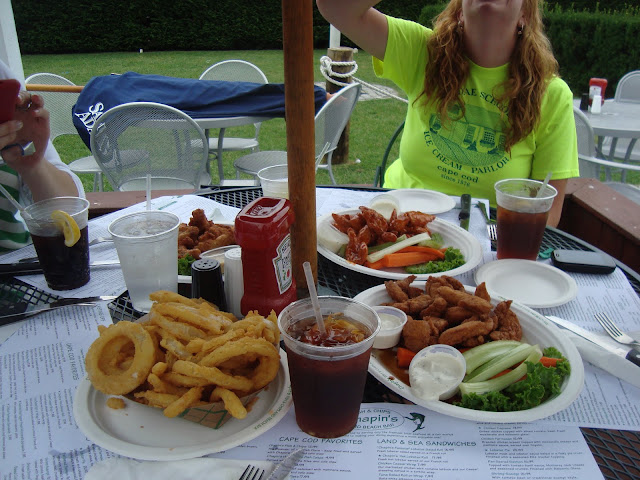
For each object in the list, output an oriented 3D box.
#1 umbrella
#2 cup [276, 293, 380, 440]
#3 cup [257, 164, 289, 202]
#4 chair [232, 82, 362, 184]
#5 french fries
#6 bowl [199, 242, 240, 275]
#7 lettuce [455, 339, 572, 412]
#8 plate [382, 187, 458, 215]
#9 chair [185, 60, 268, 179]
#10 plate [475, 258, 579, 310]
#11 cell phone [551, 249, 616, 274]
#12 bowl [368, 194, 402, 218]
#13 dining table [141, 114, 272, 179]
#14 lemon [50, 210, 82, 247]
[{"bbox_3d":[-1.193,-1.256,4.565,1.724,0.580,1.347,16,24,33],"label":"umbrella"},{"bbox_3d":[0.023,0.334,1.568,0.358,0.378,0.351,-1,22,0],"label":"cup"},{"bbox_3d":[-0.195,-0.256,2.263,0.164,0.140,0.183,-1,28,-1],"label":"cup"},{"bbox_3d":[0.018,-1.093,4.943,1.280,0.978,0.718,-4,0,-40],"label":"chair"},{"bbox_3d":[-0.405,0.315,1.533,0.529,0.131,0.415,-7,24,-7],"label":"french fries"},{"bbox_3d":[-0.392,0.053,1.961,0.115,0.080,0.119,-4,20,2],"label":"bowl"},{"bbox_3d":[0.567,0.401,1.528,0.258,0.094,0.186,-24,36,7],"label":"lettuce"},{"bbox_3d":[0.525,-0.197,2.634,0.210,0.023,0.209,-4,28,-9],"label":"plate"},{"bbox_3d":[-1.004,-0.935,4.868,0.555,0.882,0.618,11,20,41],"label":"chair"},{"bbox_3d":[0.794,0.164,2.029,0.232,0.032,0.232,0,31,10],"label":"plate"},{"bbox_3d":[1.071,0.078,2.107,0.195,0.038,0.111,7,31,10],"label":"cell phone"},{"bbox_3d":[0.305,-0.169,2.424,0.115,0.042,0.116,-4,46,4],"label":"bowl"},{"bbox_3d":[-1.147,-0.938,5.023,0.563,0.638,0.581,23,27,38],"label":"dining table"},{"bbox_3d":[-0.921,-0.051,1.930,0.117,0.113,0.038,-35,7,33],"label":"lemon"}]
